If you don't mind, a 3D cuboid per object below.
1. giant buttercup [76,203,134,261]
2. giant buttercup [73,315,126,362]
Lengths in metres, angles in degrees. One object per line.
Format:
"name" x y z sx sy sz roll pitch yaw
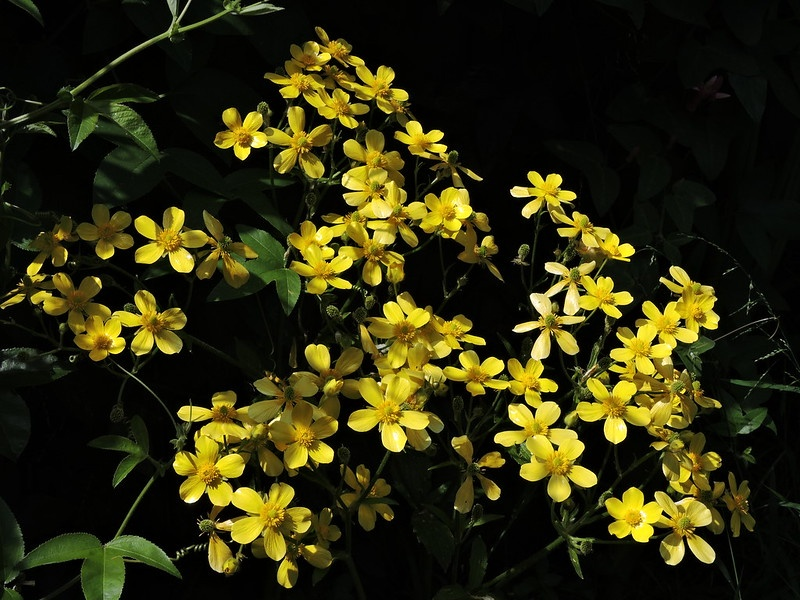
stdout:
"giant buttercup" -0.546 -0.127 1.451 0.097 0.106 0.036 0 -10 -13
"giant buttercup" -0.542 0.067 1.413 0.074 0.087 0.030 1 -12 2
